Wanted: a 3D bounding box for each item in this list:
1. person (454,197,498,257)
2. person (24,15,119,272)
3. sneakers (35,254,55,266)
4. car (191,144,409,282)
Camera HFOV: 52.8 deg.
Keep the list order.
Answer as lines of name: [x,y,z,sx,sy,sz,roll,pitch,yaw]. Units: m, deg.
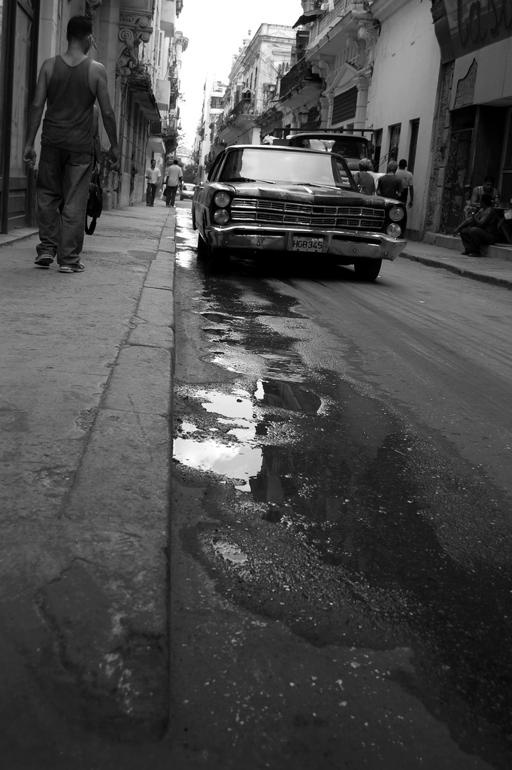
person: [6.715,-4.938,15.850,0.836,1.797,0.896,-4,14,-30]
person: [-2.169,-2.837,6.058,1.007,2.982,0.472,9,6,9]
sneakers: [-2.509,-1.497,6.138,0.101,0.146,0.283,0,13,-9]
car: [0.771,-2.913,8.535,1.938,1.618,3.878,-1,15,-12]
